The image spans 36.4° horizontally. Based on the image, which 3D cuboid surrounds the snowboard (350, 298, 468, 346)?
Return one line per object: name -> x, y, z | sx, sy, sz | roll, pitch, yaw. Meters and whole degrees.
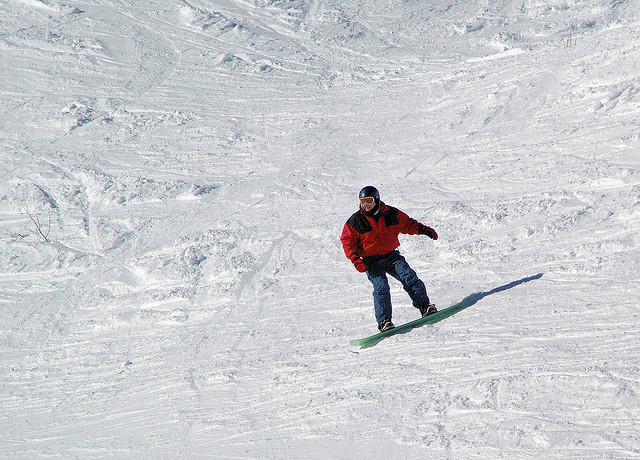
snowboard -> 1.978, 1.970, 20.650 | 3.418, 0.220, 0.273 | -13, 106, -3
